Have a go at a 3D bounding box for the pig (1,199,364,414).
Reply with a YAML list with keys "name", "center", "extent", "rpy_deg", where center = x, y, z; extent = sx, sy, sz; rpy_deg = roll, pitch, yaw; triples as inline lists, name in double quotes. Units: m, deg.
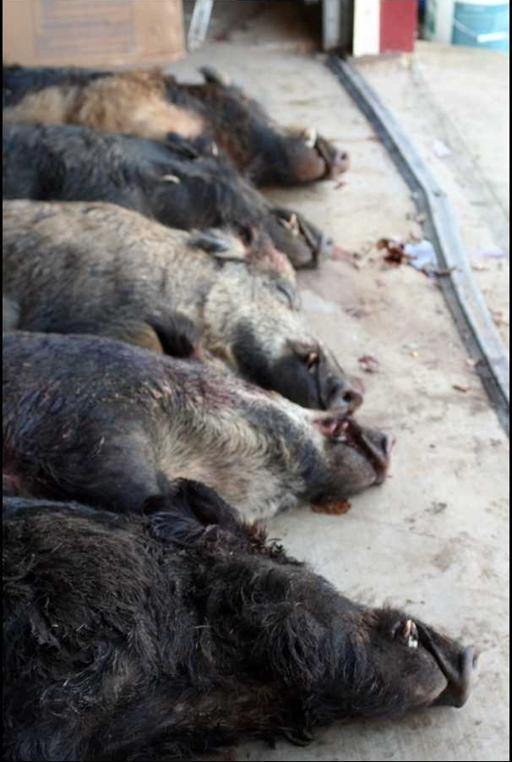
- name: "pig"
  center: [-0.146, -0.115, 1.548]
  extent: [0.487, 0.132, 0.245]
  rpy_deg: [18, 56, -5]
